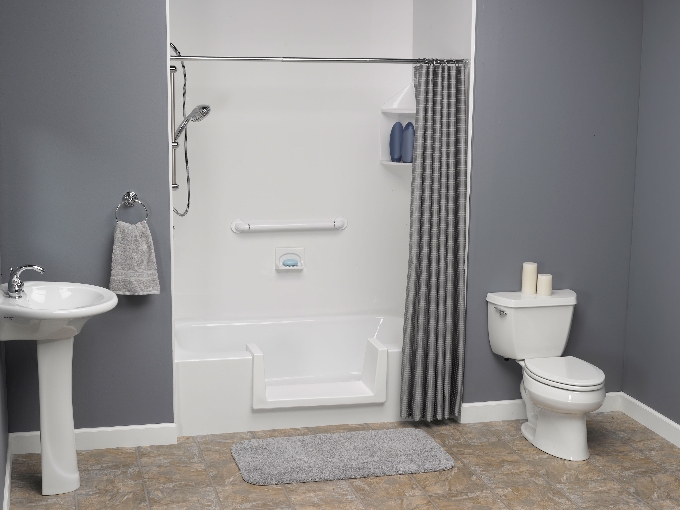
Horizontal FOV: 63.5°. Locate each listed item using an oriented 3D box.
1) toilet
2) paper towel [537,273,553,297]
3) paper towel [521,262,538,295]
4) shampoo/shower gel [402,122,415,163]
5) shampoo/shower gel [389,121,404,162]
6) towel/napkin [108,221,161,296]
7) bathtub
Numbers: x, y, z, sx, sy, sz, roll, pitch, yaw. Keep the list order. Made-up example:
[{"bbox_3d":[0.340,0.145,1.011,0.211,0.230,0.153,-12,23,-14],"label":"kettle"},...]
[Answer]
[{"bbox_3d":[1.224,0.668,3.205,0.505,0.857,0.744,-1,4,-10],"label":"toilet"},{"bbox_3d":[1.222,0.179,3.359,0.111,0.130,0.113,6,10,34],"label":"paper towel"},{"bbox_3d":[1.159,0.146,3.351,0.123,0.174,0.123,-1,3,-39],"label":"paper towel"},{"bbox_3d":[0.465,-0.777,3.790,0.070,0.273,0.124,1,14,-2],"label":"shampoo/shower gel"},{"bbox_3d":[0.395,-0.798,3.879,0.086,0.275,0.085,2,14,1],"label":"shampoo/shower gel"},{"bbox_3d":[-1.096,0.016,2.910,0.253,0.385,0.148,-3,14,-16],"label":"towel/napkin"},{"bbox_3d":[-0.328,0.700,3.567,1.459,0.514,0.735,-1,14,-10],"label":"bathtub"}]
